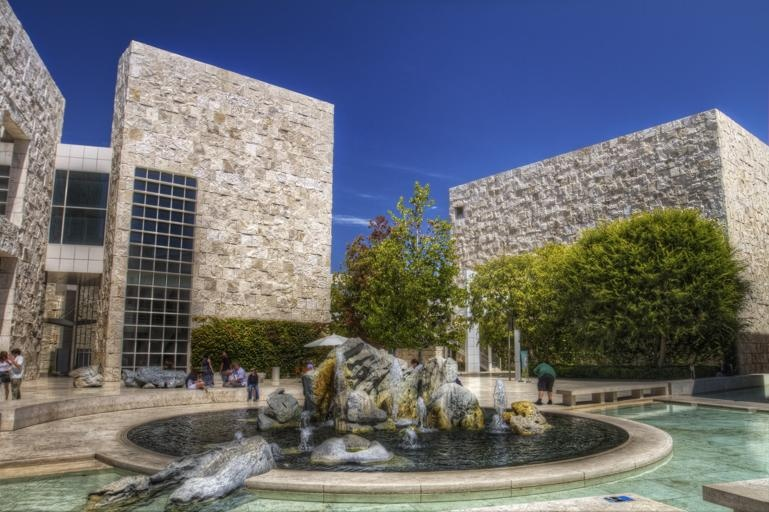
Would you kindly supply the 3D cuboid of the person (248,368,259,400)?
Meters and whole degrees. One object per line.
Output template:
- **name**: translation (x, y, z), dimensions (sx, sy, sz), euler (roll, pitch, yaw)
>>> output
- **person**: translation (-5.630, 5.482, 22.196), dimensions (0.498, 1.304, 0.589), euler (3, -15, -13)
